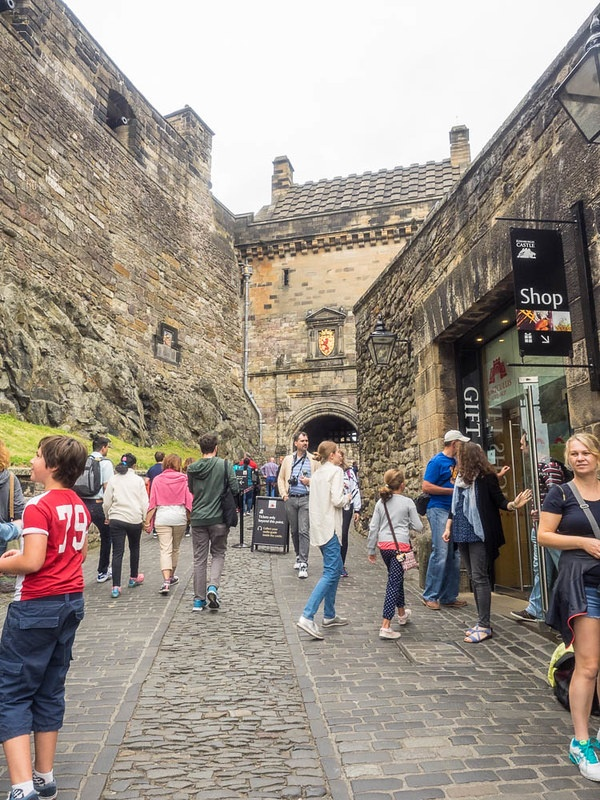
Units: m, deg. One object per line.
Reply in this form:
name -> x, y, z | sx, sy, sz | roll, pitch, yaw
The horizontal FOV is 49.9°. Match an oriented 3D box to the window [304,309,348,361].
window -> 0.963, -2.248, 22.681 | 1.651, 2.014, 0.297 | -4, -21, 18

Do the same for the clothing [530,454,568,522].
clothing -> 1.806, 0.634, 4.629 | 0.228, 0.444, 0.380 | -5, -2, 11

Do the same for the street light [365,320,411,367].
street light -> 1.153, -0.746, 8.863 | 0.648, 0.986, 0.457 | 1, -1, 4

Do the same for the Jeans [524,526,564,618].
Jeans -> 1.835, 1.359, 5.010 | 0.214, 0.763, 0.176 | 4, 8, 15

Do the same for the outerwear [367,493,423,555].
outerwear -> 0.753, 0.999, 5.127 | 0.406, 0.504, 0.258 | 1, -5, 5

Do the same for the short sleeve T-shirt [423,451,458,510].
short sleeve T-shirt -> 1.270, 0.745, 5.791 | 0.281, 0.575, 0.472 | 14, -1, 25

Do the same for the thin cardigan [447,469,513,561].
thin cardigan -> 1.351, 0.881, 4.854 | 0.404, 0.643, 0.309 | -2, -6, 15

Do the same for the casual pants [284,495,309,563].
casual pants -> -0.012, 1.488, 7.517 | 0.263, 0.790, 0.257 | -8, -10, 36

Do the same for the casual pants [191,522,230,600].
casual pants -> -0.827, 1.468, 5.848 | 0.314, 0.700, 0.426 | 1, -6, -9

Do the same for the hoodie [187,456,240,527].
hoodie -> -0.798, 0.844, 5.965 | 0.461, 0.610, 0.435 | -3, -9, 11

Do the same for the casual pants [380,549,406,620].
casual pants -> 0.742, 1.487, 5.134 | 0.226, 0.397, 0.753 | -11, -21, 8

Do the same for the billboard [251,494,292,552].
billboard -> -0.447, 1.810, 9.577 | 0.520, 0.774, 0.415 | 4, 20, -6

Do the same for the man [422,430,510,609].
man -> 1.555, 1.123, 5.990 | 1.010, 2.004, 0.580 | 0, 17, 18

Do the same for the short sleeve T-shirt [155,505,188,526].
short sleeve T-shirt -> -1.297, 1.160, 6.437 | 0.335, 0.262, 0.189 | 3, 3, -14

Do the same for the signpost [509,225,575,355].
signpost -> 1.684, -0.760, 4.477 | 0.417, 0.916, 0.113 | 0, -5, -7

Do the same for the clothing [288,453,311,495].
clothing -> -0.025, 0.860, 7.437 | 0.268, 0.437, 0.168 | -1, -14, 29

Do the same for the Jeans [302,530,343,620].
Jeans -> 0.181, 1.383, 4.923 | 0.246, 0.663, 0.530 | -1, -6, 12
